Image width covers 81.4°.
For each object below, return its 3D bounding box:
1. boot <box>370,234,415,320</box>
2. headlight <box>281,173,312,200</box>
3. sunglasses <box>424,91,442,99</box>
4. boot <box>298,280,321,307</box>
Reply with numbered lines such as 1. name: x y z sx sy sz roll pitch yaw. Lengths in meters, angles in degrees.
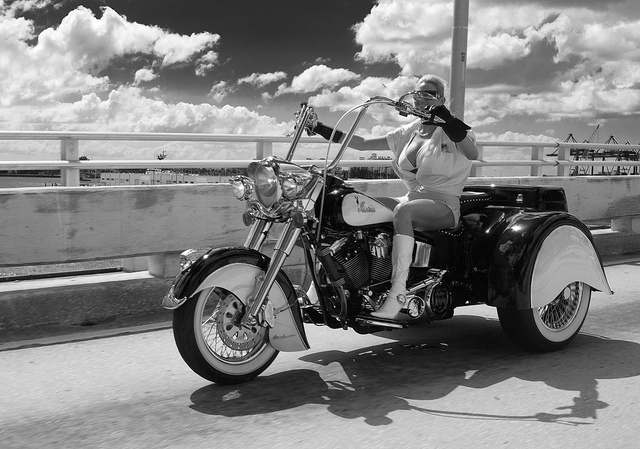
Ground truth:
1. boot: 0.663 0.439 3.245 0.355 0.725 0.476 1 13 -13
2. headlight: -0.189 -0.301 2.830 0.150 0.111 0.229 5 11 23
3. sunglasses: 1.123 -1.264 3.616 0.079 0.035 0.101 0 6 -7
4. boot: -0.142 0.671 3.496 0.274 0.143 0.144 -3 -9 -28
